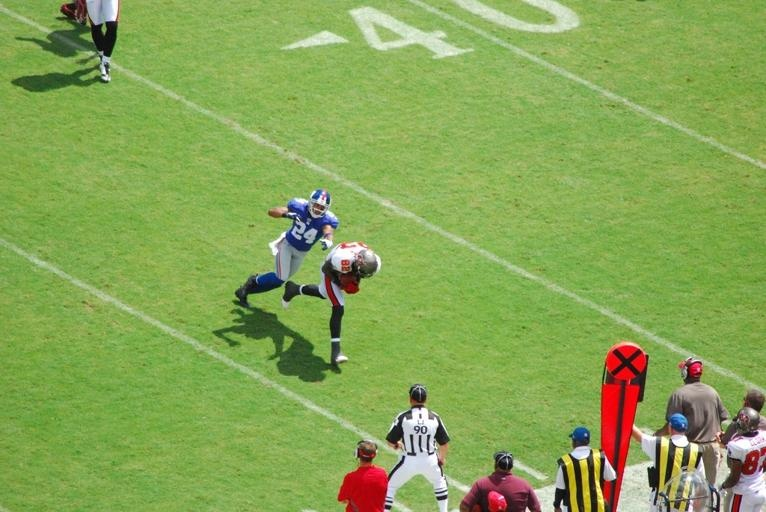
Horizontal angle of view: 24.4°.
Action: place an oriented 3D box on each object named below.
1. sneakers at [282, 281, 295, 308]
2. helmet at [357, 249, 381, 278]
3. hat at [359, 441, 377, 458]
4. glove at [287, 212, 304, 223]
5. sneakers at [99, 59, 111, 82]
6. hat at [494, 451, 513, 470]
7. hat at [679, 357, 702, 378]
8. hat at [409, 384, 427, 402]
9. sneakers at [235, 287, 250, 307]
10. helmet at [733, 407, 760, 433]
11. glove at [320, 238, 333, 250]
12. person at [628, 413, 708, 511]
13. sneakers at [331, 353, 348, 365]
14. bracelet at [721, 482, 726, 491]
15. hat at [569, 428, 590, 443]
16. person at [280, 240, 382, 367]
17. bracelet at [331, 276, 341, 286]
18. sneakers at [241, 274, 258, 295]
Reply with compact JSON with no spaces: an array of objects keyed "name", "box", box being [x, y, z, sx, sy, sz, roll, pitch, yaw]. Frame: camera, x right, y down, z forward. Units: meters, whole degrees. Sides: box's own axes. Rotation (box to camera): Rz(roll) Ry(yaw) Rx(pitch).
[{"name":"sneakers","box":[-1.430,0.584,27.007,0.233,0.429,0.143,3,48,-12]},{"name":"helmet","box":[-0.178,0.129,26.355,0.517,0.396,0.339,8,44,3]},{"name":"hat","box":[-0.193,2.591,23.937,0.256,0.183,0.269,11,22,-19]},{"name":"glove","box":[-1.327,-0.571,26.699,0.185,0.172,0.199,8,19,13]},{"name":"sneakers","box":[-4.742,-3.114,29.912,0.158,0.359,0.186,-16,4,-31]},{"name":"hat","box":[1.653,2.737,23.720,0.257,0.239,0.271,4,-23,-3]},{"name":"hat","box":[4.480,1.575,25.149,0.318,0.271,0.307,12,54,15]},{"name":"hat","box":[0.523,1.880,24.620,0.227,0.266,0.458,5,17,3]},{"name":"sneakers","box":[-2.165,0.633,27.130,0.315,0.259,0.144,31,49,23]},{"name":"helmet","box":[5.157,2.235,24.449,0.436,0.299,0.331,10,21,41]},{"name":"glove","box":[-0.805,-0.169,26.560,0.141,0.204,0.077,58,7,26]},{"name":"person","box":[4.042,2.880,24.262,0.836,1.378,1.053,0,20,-13]},{"name":"sneakers","box":[-0.612,1.538,26.489,0.143,0.109,0.301,3,-12,-34]},{"name":"bracelet","box":[4.818,3.199,24.516,0.020,0.067,0.067,16,22,-16]},{"name":"hat","box":[2.721,2.372,23.853,0.207,0.120,0.242,-2,22,-7]},{"name":"person","box":[-0.743,0.660,26.680,1.189,1.828,0.681,22,27,39]},{"name":"bracelet","box":[-0.679,0.384,26.395,0.133,0.125,0.116,-29,-28,24]},{"name":"sneakers","box":[-2.038,0.448,27.048,0.195,0.316,0.239,40,10,-12]}]
